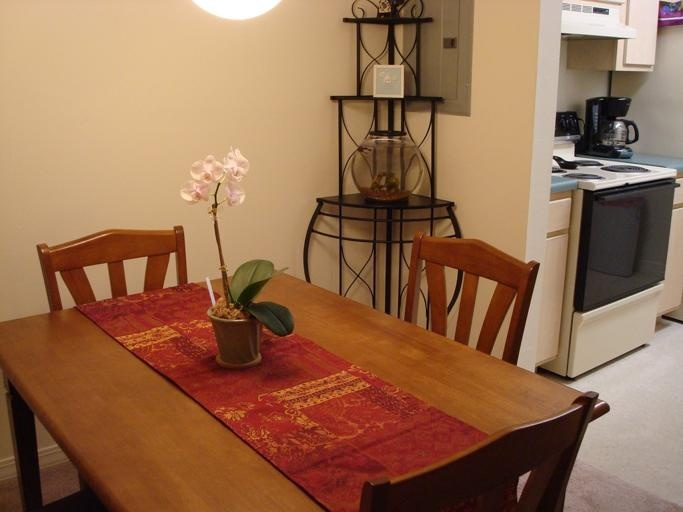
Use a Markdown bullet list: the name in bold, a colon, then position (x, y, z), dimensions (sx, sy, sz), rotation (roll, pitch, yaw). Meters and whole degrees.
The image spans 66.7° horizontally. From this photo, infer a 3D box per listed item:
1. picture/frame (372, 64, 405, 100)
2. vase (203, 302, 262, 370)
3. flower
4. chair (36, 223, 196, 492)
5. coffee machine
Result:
- **picture/frame**: position (0.261, -0.963, 2.865), dimensions (0.215, 0.239, 0.023), rotation (0, 4, 8)
- **vase**: position (-0.304, 0.224, 1.481), dimensions (0.137, 0.143, 0.148), rotation (-3, 9, -19)
- **flower**: position (-0.271, 0.005, 1.421), dimensions (0.202, 0.524, 0.322), rotation (-21, -26, 32)
- **chair**: position (-0.859, 0.167, 1.959), dimensions (0.384, 0.724, 0.403), rotation (-12, 20, -37)
- **coffee machine**: position (1.909, -0.927, 3.709), dimensions (0.229, 0.415, 0.395), rotation (-16, 21, -38)
